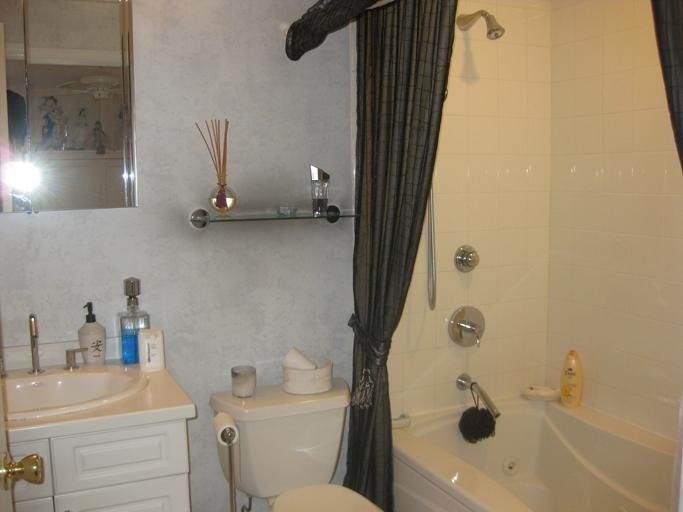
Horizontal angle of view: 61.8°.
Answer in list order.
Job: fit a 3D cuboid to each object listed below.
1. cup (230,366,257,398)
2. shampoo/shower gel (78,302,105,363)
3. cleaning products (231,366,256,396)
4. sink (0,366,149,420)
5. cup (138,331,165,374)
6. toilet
[{"bbox_3d":[-0.436,0.559,2.529,0.099,0.116,0.103,0,3,0],"label":"cup"},{"bbox_3d":[-1.062,0.327,2.403,0.109,0.238,0.101,-6,3,-42],"label":"shampoo/shower gel"},{"bbox_3d":[-0.427,0.548,2.546,0.111,0.132,0.113,-4,7,-40],"label":"cleaning products"},{"bbox_3d":[-1.006,0.511,2.183,0.482,0.177,0.413,-6,3,-33],"label":"sink"},{"bbox_3d":[-0.812,0.396,2.428,0.105,0.151,0.127,-5,3,-20],"label":"cup"},{"bbox_3d":[-0.195,0.767,2.458,0.689,0.718,0.445,-1,0,-19],"label":"toilet"}]
